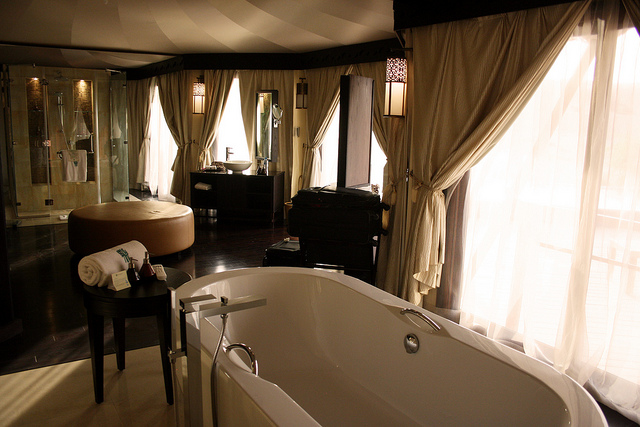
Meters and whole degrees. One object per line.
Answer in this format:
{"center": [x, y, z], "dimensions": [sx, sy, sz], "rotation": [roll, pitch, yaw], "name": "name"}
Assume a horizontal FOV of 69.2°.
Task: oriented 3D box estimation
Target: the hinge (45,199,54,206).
{"center": [-4.044, -0.159, 6.912], "dimensions": [0.021, 0.098, 0.120], "rotation": [8, 9, 40], "name": "hinge"}

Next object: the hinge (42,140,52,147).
{"center": [-3.977, -1.013, 6.715], "dimensions": [0.081, 0.070, 0.085], "rotation": [-2, 11, -21], "name": "hinge"}

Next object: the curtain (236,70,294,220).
{"center": [-0.846, -1.072, 7.291], "dimensions": [0.900, 2.305, 0.191], "rotation": [4, 8, 16], "name": "curtain"}

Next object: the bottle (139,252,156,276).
{"center": [-1.272, 0.377, 3.384], "dimensions": [0.123, 0.187, 0.120], "rotation": [0, 4, 0], "name": "bottle"}

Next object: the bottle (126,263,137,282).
{"center": [-1.336, 0.420, 3.263], "dimensions": [0.071, 0.130, 0.036], "rotation": [3, 7, 4], "name": "bottle"}

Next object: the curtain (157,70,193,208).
{"center": [-2.397, -1.265, 7.746], "dimensions": [0.257, 2.169, 0.911], "rotation": [-5, 10, -44], "name": "curtain"}

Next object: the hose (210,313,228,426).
{"center": [-0.614, 0.926, 2.739], "dimensions": [0.079, 0.654, 0.127], "rotation": [-3, 11, -26], "name": "hose"}

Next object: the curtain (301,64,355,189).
{"center": [0.012, -1.233, 6.742], "dimensions": [0.244, 1.761, 0.929], "rotation": [-3, 9, -35], "name": "curtain"}
